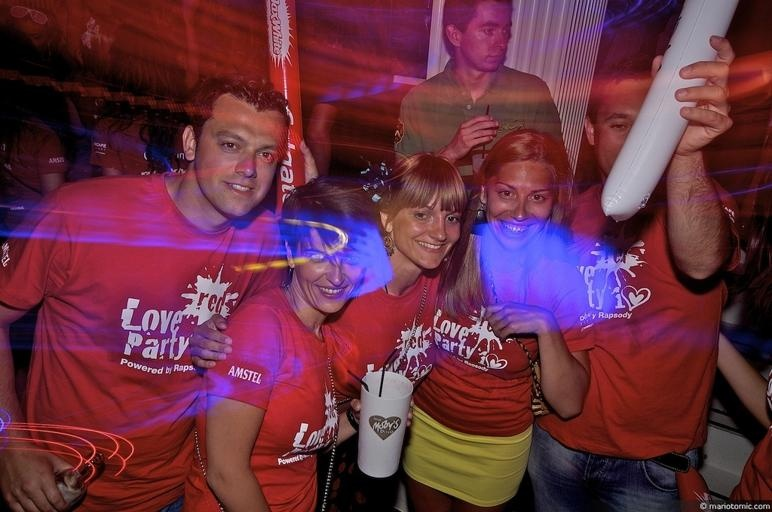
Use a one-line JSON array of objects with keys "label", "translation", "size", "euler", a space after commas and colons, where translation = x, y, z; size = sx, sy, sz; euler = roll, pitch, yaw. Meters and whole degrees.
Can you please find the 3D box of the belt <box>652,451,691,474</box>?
[{"label": "belt", "translation": [1.926, 1.401, 3.467], "size": [0.205, 0.114, 0.048], "euler": [-1, 3, 12]}]
